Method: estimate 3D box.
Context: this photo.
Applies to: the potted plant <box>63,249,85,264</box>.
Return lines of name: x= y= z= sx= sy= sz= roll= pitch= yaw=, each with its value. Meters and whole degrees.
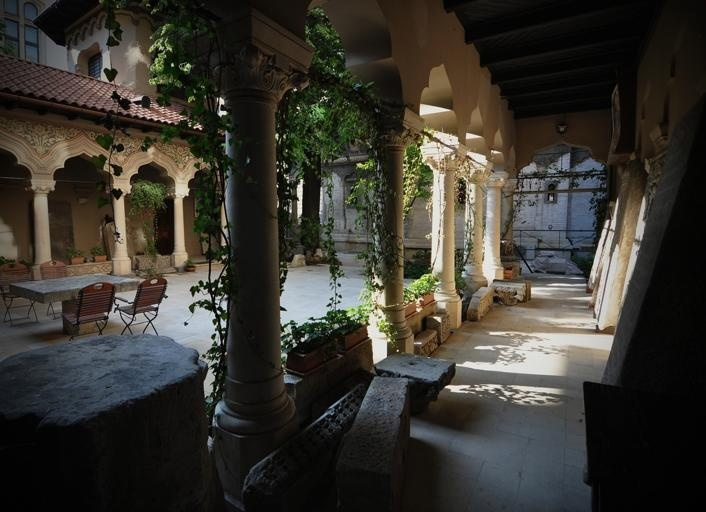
potted plant: x=-7.860 y=0.024 z=12.674 sx=0.413 sy=0.373 sz=0.913 roll=-3 pitch=5 yaw=-33

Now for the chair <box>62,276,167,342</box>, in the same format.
chair: x=-3.789 y=0.787 z=7.117 sx=1.385 sy=0.882 sz=1.389 roll=-3 pitch=5 yaw=-34

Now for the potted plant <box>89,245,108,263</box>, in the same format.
potted plant: x=-7.510 y=-0.056 z=13.192 sx=0.407 sy=0.369 sz=1.538 roll=-3 pitch=5 yaw=-31

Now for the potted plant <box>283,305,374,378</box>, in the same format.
potted plant: x=-0.315 y=0.848 z=4.690 sx=0.488 sy=0.465 sz=1.094 roll=3 pitch=5 yaw=35

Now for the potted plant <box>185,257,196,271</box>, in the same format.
potted plant: x=-5.101 y=0.294 z=13.958 sx=0.311 sy=0.432 sz=0.303 roll=2 pitch=0 yaw=9
